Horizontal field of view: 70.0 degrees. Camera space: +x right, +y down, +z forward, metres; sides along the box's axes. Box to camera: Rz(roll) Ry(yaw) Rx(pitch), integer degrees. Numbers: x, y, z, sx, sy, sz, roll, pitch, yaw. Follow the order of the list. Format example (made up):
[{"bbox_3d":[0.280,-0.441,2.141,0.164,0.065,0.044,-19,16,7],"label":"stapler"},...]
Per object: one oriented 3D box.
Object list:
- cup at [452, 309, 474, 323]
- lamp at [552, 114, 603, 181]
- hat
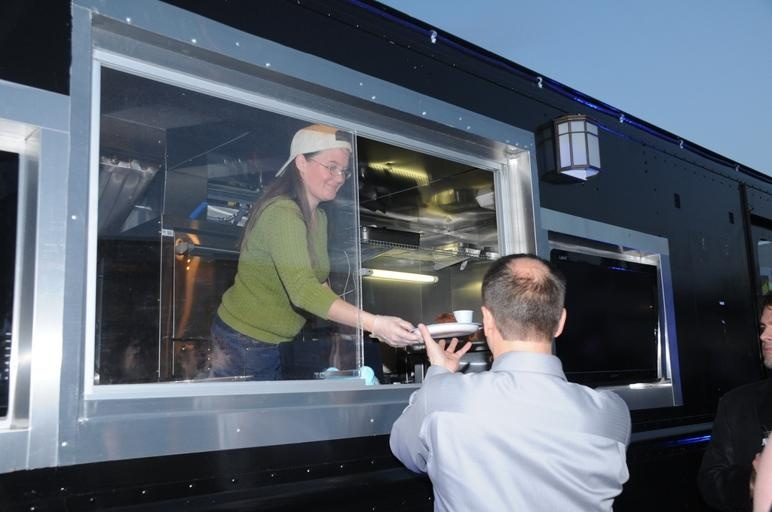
[{"bbox_3d":[0.347,0.273,2.461,0.078,0.052,0.079,-1,-14,0],"label":"cup"},{"bbox_3d":[1.150,-0.653,3.311,0.279,0.348,0.147,9,-12,-40],"label":"lamp"},{"bbox_3d":[-0.328,-0.499,2.498,0.271,0.131,0.247,-14,-2,-11],"label":"hat"}]
